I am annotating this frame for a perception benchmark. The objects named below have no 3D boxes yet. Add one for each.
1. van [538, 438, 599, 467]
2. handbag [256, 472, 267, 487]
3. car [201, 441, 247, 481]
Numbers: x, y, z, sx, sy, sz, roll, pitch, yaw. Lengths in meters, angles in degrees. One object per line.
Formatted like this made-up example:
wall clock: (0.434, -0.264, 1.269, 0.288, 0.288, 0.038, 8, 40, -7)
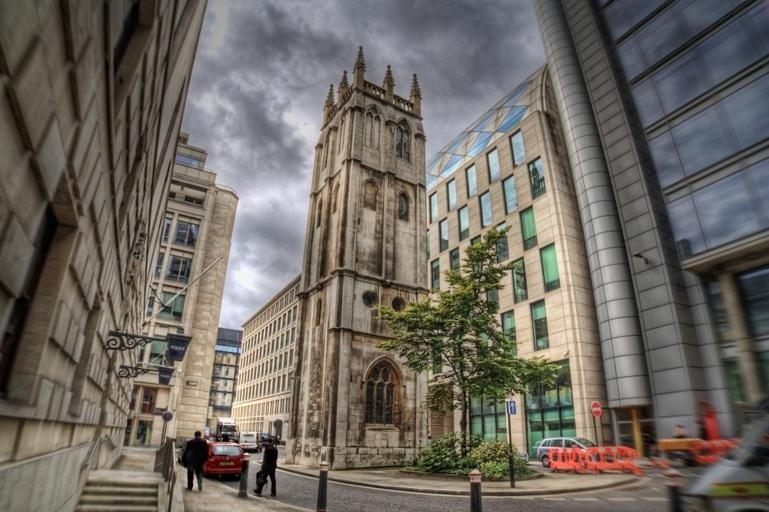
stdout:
van: (9.952, 11.003, 26.394, 1.473, 1.552, 4.483, 4, -26, -6)
handbag: (-4.373, 7.933, 16.756, 0.256, 0.436, 0.533, 24, -34, -38)
car: (-7.174, 9.109, 20.899, 1.518, 1.521, 1.183, 9, -28, -15)
